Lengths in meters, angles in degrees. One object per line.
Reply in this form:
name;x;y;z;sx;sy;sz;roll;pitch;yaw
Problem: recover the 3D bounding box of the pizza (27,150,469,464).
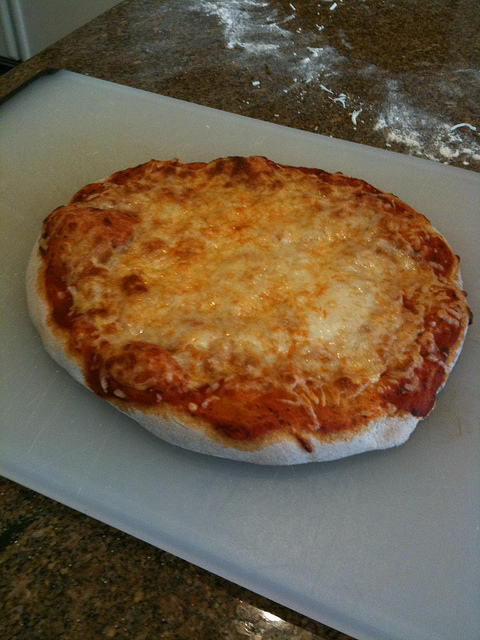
pizza;0.001;-0.039;0.883;0.582;0.239;0.457;4;34;8
